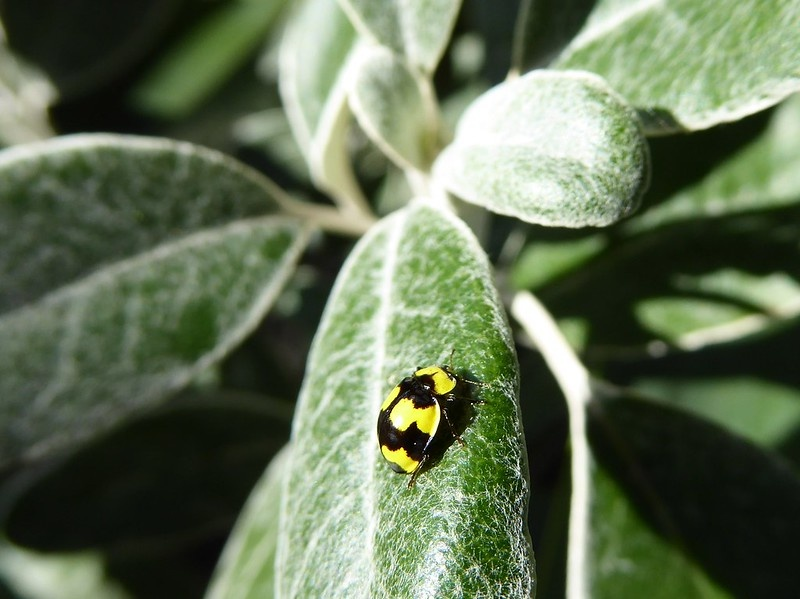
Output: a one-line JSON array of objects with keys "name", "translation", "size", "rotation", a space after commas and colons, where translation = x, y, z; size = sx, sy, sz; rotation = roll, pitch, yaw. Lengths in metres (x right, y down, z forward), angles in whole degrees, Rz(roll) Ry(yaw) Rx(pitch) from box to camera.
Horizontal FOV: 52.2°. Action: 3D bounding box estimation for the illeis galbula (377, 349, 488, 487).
[{"name": "illeis galbula", "translation": [0.031, 0.118, 0.832], "size": [0.121, 0.071, 0.101], "rotation": [-30, 66, -6]}]
